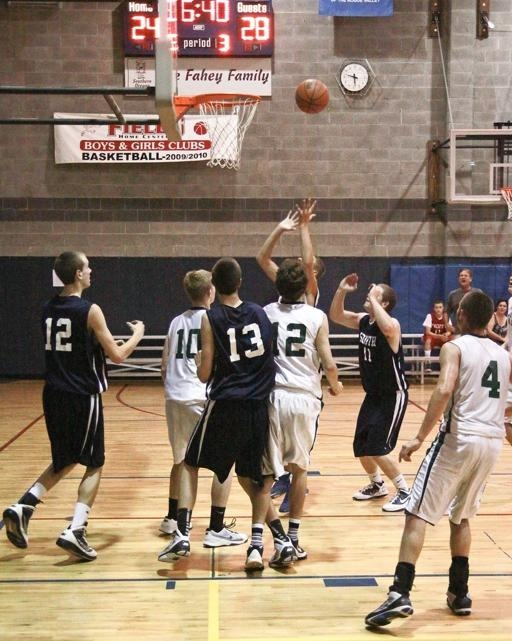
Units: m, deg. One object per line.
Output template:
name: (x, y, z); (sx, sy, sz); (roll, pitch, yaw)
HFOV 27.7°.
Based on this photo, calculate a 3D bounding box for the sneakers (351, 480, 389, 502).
sneakers: (0.892, 1.324, 8.066); (0.330, 0.154, 0.112); (-3, -4, -9)

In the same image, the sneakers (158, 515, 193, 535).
sneakers: (-0.582, 1.427, 7.417); (0.133, 0.159, 0.367); (1, -3, 10)

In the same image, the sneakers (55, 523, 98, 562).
sneakers: (-1.184, 1.460, 6.849); (0.248, 0.261, 0.337); (0, 7, -9)

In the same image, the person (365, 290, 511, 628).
person: (1.124, 0.817, 6.121); (0.838, 1.926, 0.323); (-4, 8, -34)

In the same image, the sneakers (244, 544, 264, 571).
sneakers: (-0.011, 1.513, 6.610); (0.085, 0.105, 0.214); (1, -1, -1)

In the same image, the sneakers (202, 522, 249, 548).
sneakers: (-0.168, 1.481, 7.215); (0.388, 0.182, 0.137); (1, -4, -16)

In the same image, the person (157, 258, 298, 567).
person: (-0.149, 0.612, 6.659); (0.815, 2.000, 0.569); (1, 7, 2)

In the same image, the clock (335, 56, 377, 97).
clock: (1.329, -3.349, 14.217); (0.537, 0.475, 0.090); (-2, -2, -12)

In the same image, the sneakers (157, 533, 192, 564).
sneakers: (-0.500, 1.416, 6.523); (0.107, 0.194, 0.279); (23, -39, -18)

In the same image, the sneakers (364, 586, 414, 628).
sneakers: (0.773, 1.665, 6.054); (0.132, 0.197, 0.393); (32, -50, -22)

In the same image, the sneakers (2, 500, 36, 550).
sneakers: (-1.549, 1.335, 6.741); (0.102, 0.298, 0.204); (7, 9, 41)

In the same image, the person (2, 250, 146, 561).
person: (-1.228, 0.565, 6.898); (0.874, 2.018, 0.660); (0, 7, -7)

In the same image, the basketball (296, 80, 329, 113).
basketball: (0.621, -2.528, 11.698); (0.346, 0.351, 0.244); (1, 7, 3)
